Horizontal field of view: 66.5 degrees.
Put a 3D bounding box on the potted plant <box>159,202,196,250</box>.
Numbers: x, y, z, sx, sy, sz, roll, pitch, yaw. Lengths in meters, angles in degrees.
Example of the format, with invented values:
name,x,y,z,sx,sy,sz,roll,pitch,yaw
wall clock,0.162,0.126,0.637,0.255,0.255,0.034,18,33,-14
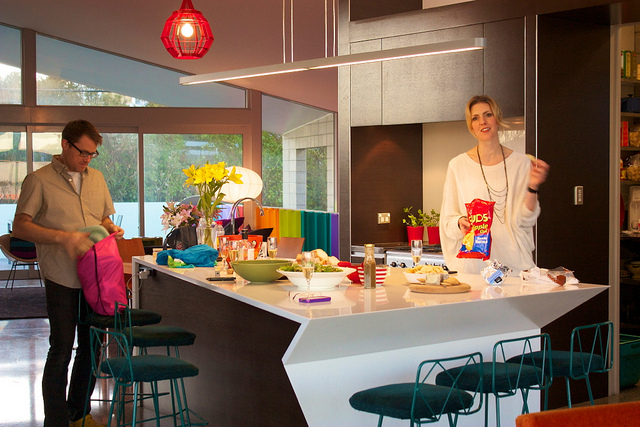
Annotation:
name,x,y,z,sx,sy,sz,roll,pitch,yaw
potted plant,-1.286,0.113,4.286,0.377,0.394,0.383,0,-3,-10

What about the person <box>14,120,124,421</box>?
name,x,y,z,sx,sy,sz,roll,pitch,yaw
person,-1.875,0.475,3.706,0.621,1.544,0.774,-1,1,-4

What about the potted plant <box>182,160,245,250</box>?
name,x,y,z,sx,sy,sz,roll,pitch,yaw
potted plant,-0.989,-0.113,4.296,0.624,0.915,0.681,-2,4,-24

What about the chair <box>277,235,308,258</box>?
name,x,y,z,sx,sy,sz,roll,pitch,yaw
chair,-0.256,0.312,4.707,0.180,0.324,0.220,4,-1,29

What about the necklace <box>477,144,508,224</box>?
name,x,y,z,sx,sy,sz,roll,pitch,yaw
necklace,1.606,-0.306,4.293,0.160,0.616,0.023,-11,-12,11

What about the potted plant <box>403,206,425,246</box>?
name,x,y,z,sx,sy,sz,roll,pitch,yaw
potted plant,1.074,0.142,5.522,0.201,0.428,0.239,-12,6,-31

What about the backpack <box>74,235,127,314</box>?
name,x,y,z,sx,sy,sz,roll,pitch,yaw
backpack,-1.667,0.469,3.728,0.340,0.517,0.455,-14,8,-24

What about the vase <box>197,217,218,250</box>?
name,x,y,z,sx,sy,sz,roll,pitch,yaw
vase,-0.907,0.171,4.041,0.166,0.300,0.169,-1,4,-24
